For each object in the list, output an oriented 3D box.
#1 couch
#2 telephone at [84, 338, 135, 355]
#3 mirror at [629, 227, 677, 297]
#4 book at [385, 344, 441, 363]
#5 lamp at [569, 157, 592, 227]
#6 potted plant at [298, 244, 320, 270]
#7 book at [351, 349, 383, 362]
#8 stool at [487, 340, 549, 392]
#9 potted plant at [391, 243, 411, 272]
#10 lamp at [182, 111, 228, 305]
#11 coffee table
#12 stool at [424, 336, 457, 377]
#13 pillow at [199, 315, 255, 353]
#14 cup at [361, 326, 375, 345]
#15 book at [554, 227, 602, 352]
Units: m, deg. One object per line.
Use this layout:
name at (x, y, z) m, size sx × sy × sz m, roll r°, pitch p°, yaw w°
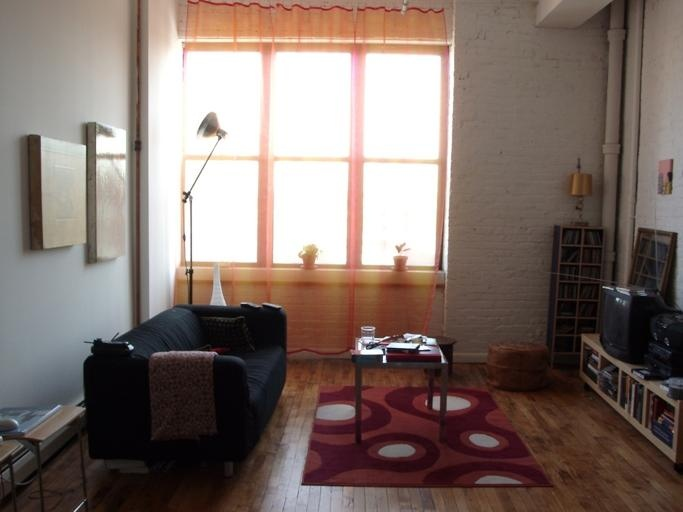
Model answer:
couch at (-1.172, 0.983, 4.698) m, size 1.212 × 0.968 × 1.463 m, roll 2°, pitch 12°, yaw 7°
telephone at (-1.629, 0.651, 4.136) m, size 0.231 × 0.084 × 0.157 m, roll -1°, pitch 0°, yaw -3°
mirror at (2.977, 0.063, 5.482) m, size 0.049 × 0.764 × 0.654 m, roll 12°, pitch 1°, yaw -3°
book at (0.597, 0.796, 4.822) m, size 0.467 × 0.072 × 0.314 m, roll 0°, pitch 12°, yaw -1°
lamp at (2.581, -0.698, 6.250) m, size 0.222 × 0.703 × 0.321 m, roll 5°, pitch 13°, yaw 22°
potted plant at (-0.356, 0.007, 6.643) m, size 0.312 × 0.319 × 0.237 m, roll 0°, pitch 0°, yaw -5°
book at (0.219, 0.823, 4.731) m, size 0.263 × 0.063 × 0.163 m, roll -1°, pitch 12°, yaw -6°
stool at (1.718, 1.085, 5.663) m, size 0.465 × 0.306 × 0.470 m, roll -2°, pitch -1°, yaw 8°
potted plant at (0.684, 0.003, 6.555) m, size 0.179 × 0.314 × 0.113 m, roll 2°, pitch 12°, yaw 6°
lamp at (-1.472, -0.505, 6.309) m, size 0.516 × 2.074 × 0.790 m, roll -3°, pitch 13°, yaw -15°
coffee table at (0.487, 1.174, 5.026) m, size 0.725 × 0.583 × 0.777 m, roll 0°, pitch -1°, yaw 4°
stool at (1.051, 1.033, 6.078) m, size 0.388 × 0.388 × 0.389 m, roll -2°, pitch 7°, yaw -6°
pillow at (-1.034, 0.710, 5.256) m, size 0.348 × 0.344 × 0.106 m, roll -7°, pitch 0°, yaw 15°
cup at (0.236, 0.688, 5.093) m, size 0.116 × 0.122 × 0.208 m, roll 0°, pitch 12°, yaw -2°
book at (2.535, 0.370, 6.250) m, size 0.529 × 1.401 × 0.369 m, roll 5°, pitch 13°, yaw 19°
